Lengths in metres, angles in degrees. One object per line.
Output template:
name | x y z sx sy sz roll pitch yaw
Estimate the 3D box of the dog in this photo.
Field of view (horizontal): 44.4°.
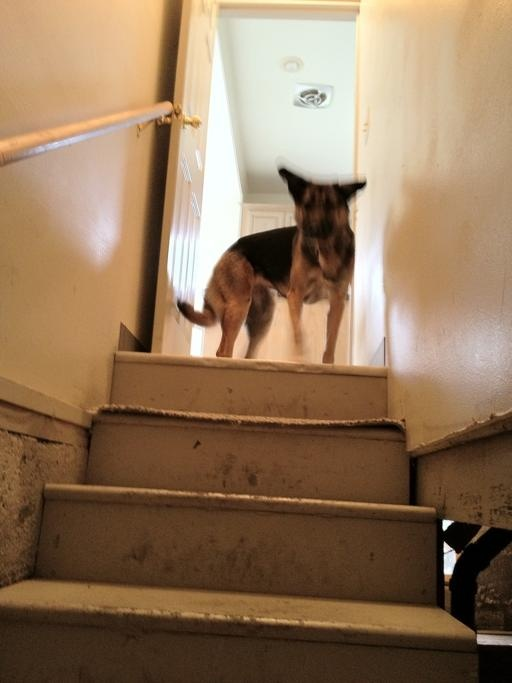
dog | 0.085 -0.255 2.885 0.359 0.822 0.937 -1 -7 -45
